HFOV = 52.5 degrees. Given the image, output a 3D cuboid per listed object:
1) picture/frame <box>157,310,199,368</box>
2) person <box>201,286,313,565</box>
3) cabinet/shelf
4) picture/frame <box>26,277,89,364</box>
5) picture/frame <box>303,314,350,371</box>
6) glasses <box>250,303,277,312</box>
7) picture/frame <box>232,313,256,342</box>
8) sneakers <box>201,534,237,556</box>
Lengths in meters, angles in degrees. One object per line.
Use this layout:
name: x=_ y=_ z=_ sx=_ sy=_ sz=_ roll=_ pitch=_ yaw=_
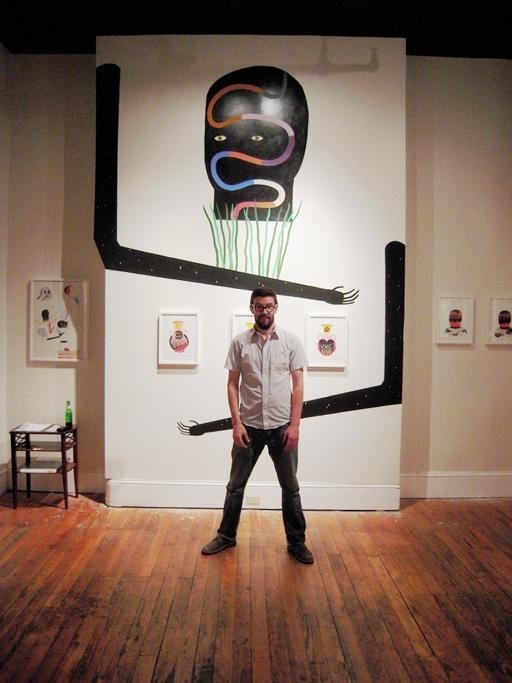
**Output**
picture/frame: x=-0.549 y=-0.029 z=3.720 sx=0.292 sy=0.455 sz=0.028 roll=0 pitch=30 yaw=-10
person: x=0.034 y=0.593 z=3.068 sx=0.622 sy=1.369 sz=0.196 roll=1 pitch=5 yaw=8
cabinet/shelf: x=-1.570 y=0.914 z=3.882 sx=0.433 sy=0.592 sz=0.421 roll=1 pitch=0 yaw=-17
picture/frame: x=-1.548 y=-0.196 z=4.077 sx=0.570 sy=0.928 sz=0.085 roll=0 pitch=-1 yaw=-3
picture/frame: x=0.508 y=-0.014 z=3.731 sx=0.303 sy=0.430 sz=0.040 roll=2 pitch=24 yaw=9
glasses: x=0.047 y=-0.198 z=2.945 sx=0.129 sy=0.046 sz=0.083 roll=1 pitch=5 yaw=-2
picture/frame: x=-0.074 y=-0.106 z=3.442 sx=0.175 sy=0.227 sz=0.029 roll=1 pitch=-1 yaw=8
sneakers: x=-0.225 y=1.232 z=3.193 sx=0.220 sy=0.097 sz=0.081 roll=2 pitch=4 yaw=-40
